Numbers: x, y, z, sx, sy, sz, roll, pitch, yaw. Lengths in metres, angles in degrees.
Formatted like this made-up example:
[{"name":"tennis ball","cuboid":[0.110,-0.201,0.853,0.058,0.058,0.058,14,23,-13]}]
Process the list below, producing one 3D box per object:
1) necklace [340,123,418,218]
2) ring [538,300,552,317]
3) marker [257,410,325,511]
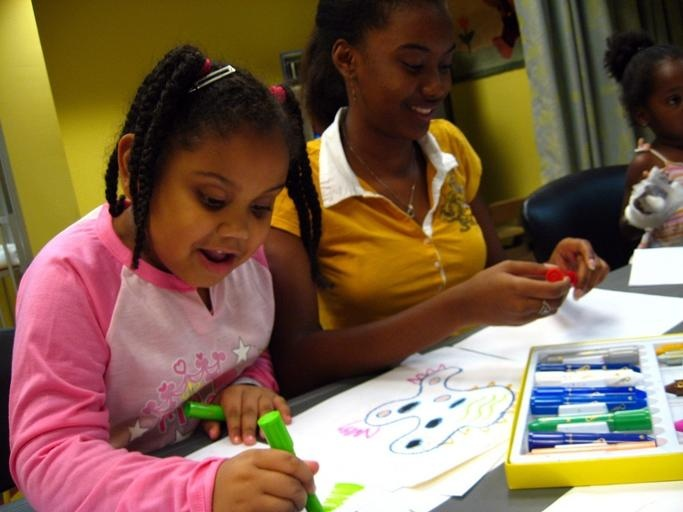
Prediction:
[{"name":"necklace","cuboid":[0.076,-0.223,1.406,0.155,0.279,0.052,-32,8,-25]},{"name":"ring","cuboid":[0.365,0.094,0.992,0.020,0.020,0.021,2,39,-1]},{"name":"marker","cuboid":[-0.062,0.260,0.697,0.059,0.111,0.055,-11,5,-8]}]
